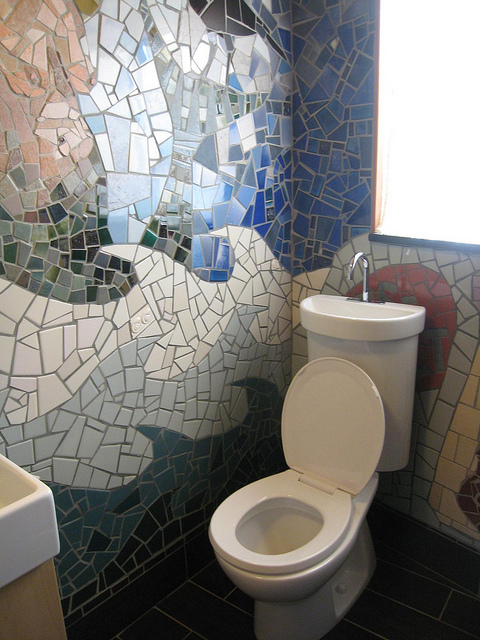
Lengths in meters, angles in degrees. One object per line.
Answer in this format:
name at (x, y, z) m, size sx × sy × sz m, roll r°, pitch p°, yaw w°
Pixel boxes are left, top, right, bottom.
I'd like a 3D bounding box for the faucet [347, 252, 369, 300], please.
faucet at (0.387, -0.145, 1.617) m, size 0.068 × 0.167 × 0.249 m, roll 1°, pitch 13°, yaw 15°
